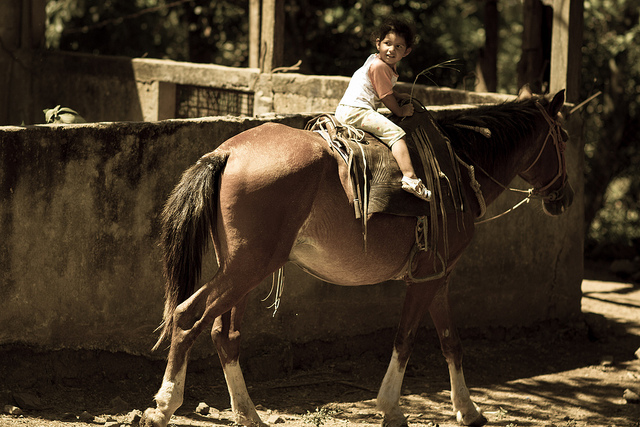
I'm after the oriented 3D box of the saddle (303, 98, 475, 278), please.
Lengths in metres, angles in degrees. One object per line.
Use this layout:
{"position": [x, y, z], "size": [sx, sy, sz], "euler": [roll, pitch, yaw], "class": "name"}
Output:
{"position": [0.735, -0.235, 12.367], "size": [1.071, 1.940, 0.582], "euler": [-36, 10, -2], "class": "saddle"}
